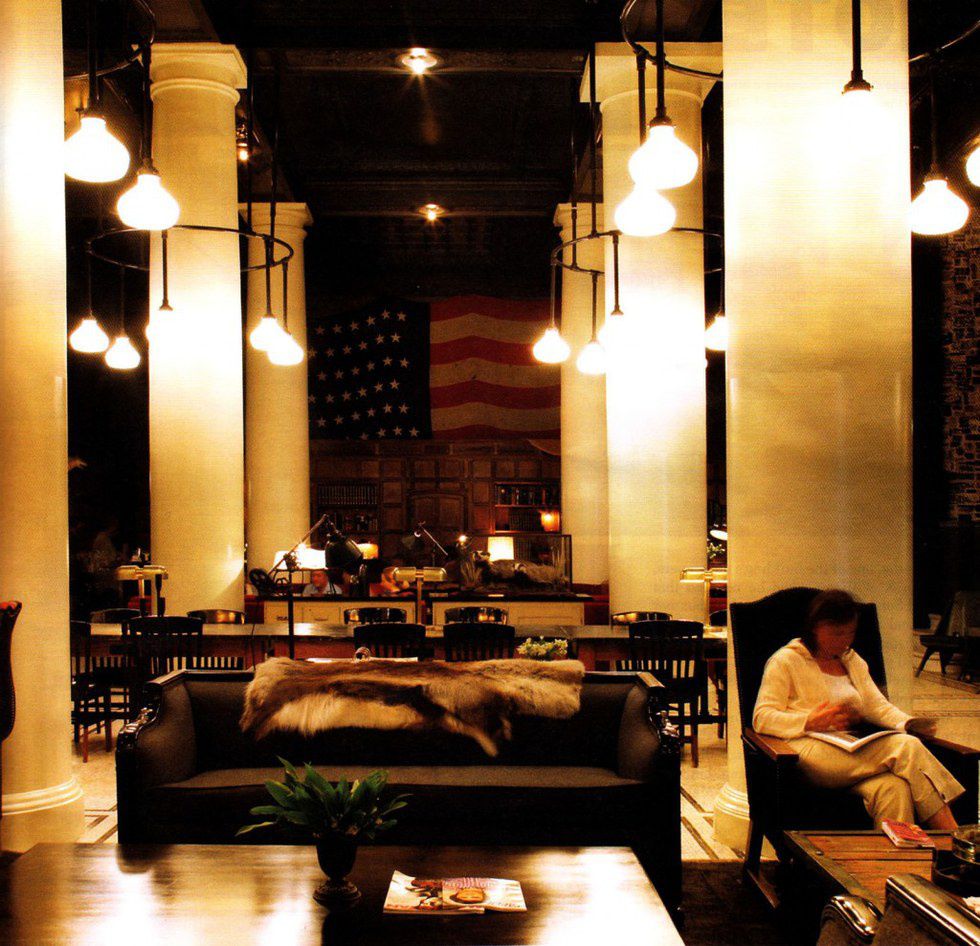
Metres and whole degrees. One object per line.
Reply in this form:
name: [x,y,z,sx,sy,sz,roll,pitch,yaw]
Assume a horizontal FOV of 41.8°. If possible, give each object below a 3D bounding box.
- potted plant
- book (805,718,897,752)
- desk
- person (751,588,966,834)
potted plant: [-0.624,1.331,4.974,0.565,0.467,0.589,1,-12,-4]
book: [1.590,1.152,5.620,0.198,0.103,0.347,-2,-1,-33]
desk: [1.455,1.648,5.026,0.490,0.408,1.076,-2,-1,-4]
person: [1.602,1.019,5.686,0.664,0.938,0.730,-2,-1,-15]
